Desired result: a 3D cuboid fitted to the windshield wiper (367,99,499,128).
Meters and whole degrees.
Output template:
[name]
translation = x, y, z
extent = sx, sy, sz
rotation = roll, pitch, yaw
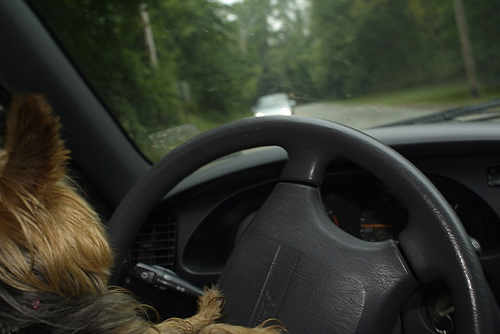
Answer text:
[windshield wiper]
translation = 0.773, -0.222, 1.793
extent = 0.430, 0.031, 0.047
rotation = -15, 19, 9
